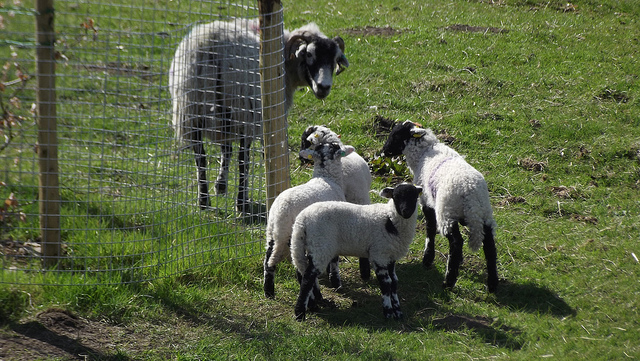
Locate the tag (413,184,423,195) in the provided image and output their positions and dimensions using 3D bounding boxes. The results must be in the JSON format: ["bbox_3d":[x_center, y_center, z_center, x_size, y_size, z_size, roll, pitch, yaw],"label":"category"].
[{"bbox_3d":[1.833,0.184,15.627,0.174,0.233,0.569,10,-1,4],"label":"tag"}]

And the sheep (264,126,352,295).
[{"bbox_3d":[-0.222,0.725,16.487,1.319,2.912,4.347,5,11,13],"label":"sheep"}]

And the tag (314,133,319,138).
[{"bbox_3d":[-0.055,-0.853,15.984,0.083,0.083,0.027,-3,11,-29],"label":"tag"}]
